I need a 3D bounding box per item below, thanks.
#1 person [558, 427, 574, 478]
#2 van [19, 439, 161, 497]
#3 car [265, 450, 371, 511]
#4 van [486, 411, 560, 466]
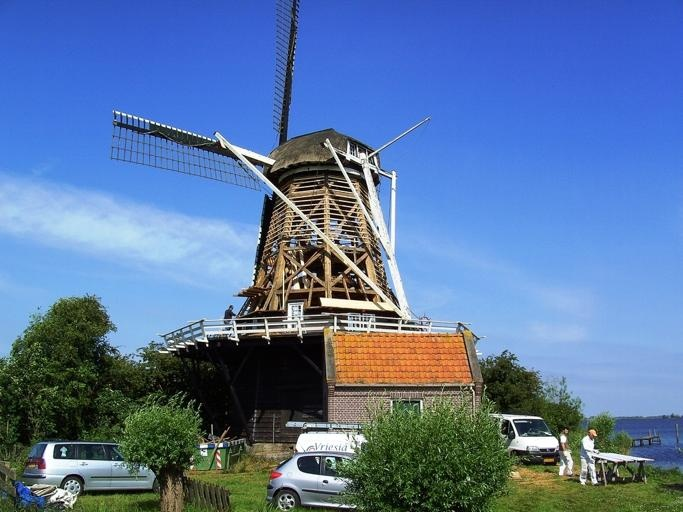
[{"bbox_3d":[7.423,6.579,19.839,0.458,1.476,1.419,-5,-18,18],"label":"person"},{"bbox_3d":[-7.307,6.051,17.730,4.009,1.260,1.892,4,-10,-29],"label":"van"},{"bbox_3d":[-0.701,5.703,14.819,2.753,1.109,1.502,-2,-9,4],"label":"car"},{"bbox_3d":[6.634,6.827,22.535,1.818,1.669,3.483,5,-8,-20],"label":"van"}]
